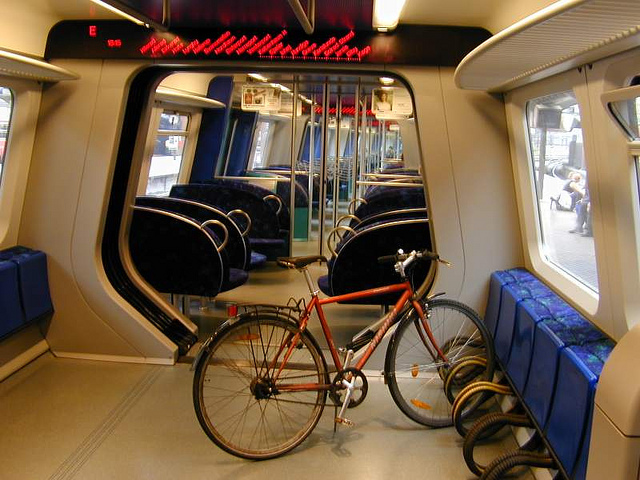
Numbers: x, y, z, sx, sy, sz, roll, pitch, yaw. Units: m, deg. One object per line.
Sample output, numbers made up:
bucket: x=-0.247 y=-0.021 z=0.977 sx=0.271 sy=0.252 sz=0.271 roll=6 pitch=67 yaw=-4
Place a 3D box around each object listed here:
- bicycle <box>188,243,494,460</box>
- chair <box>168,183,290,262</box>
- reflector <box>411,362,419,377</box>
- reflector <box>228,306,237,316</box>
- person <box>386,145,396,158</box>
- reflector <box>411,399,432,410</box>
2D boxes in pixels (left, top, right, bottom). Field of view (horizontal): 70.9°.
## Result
bicycle: x=0.269 y=0.838 z=3.377 sx=2.363 sy=1.500 sz=0.988 roll=-3 pitch=3 yaw=-11
chair: x=-1.325 y=-0.442 z=7.273 sx=1.447 sy=1.036 sz=1.609 roll=4 pitch=2 yaw=7
reflector: x=0.766 y=1.058 z=3.626 sx=0.037 sy=0.140 sz=0.095 roll=3 pitch=-4 yaw=-11
reflector: x=-0.609 y=0.489 z=3.106 sx=0.055 sy=0.088 sz=0.116 roll=2 pitch=8 yaw=-12
person: x=3.876 y=-4.907 z=24.836 sx=0.468 sy=0.339 sz=0.895 roll=4 pitch=22 yaw=5
reflector: x=0.785 y=1.286 z=3.517 sx=0.095 sy=0.025 sz=0.147 roll=22 pitch=-1 yaw=23
